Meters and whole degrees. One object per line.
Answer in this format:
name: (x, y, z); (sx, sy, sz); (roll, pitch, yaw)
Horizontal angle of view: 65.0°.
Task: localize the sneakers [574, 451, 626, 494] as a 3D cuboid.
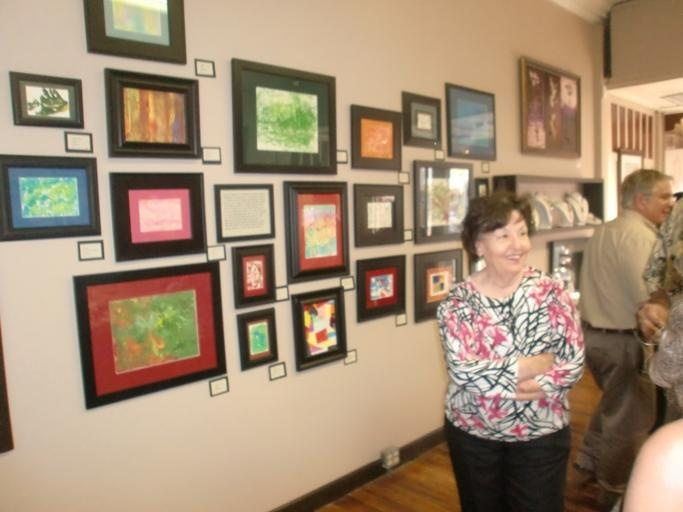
sneakers: (1.807, 1.522, 3.744); (0.237, 0.221, 0.188); (-2, 5, -18)
